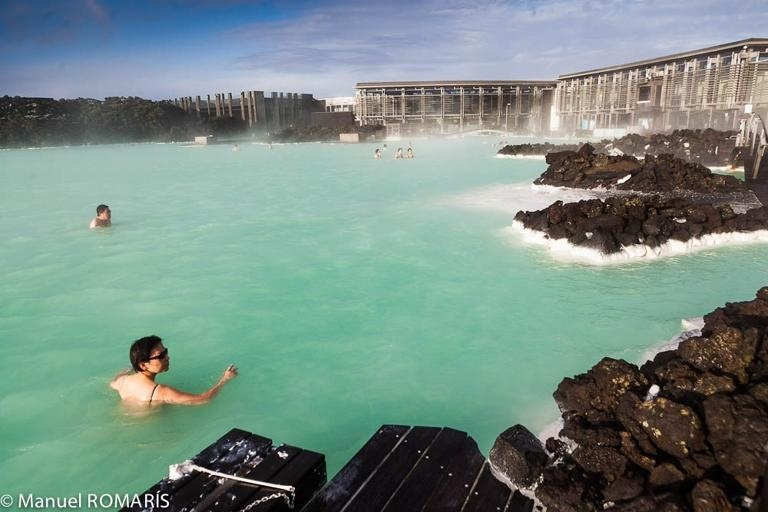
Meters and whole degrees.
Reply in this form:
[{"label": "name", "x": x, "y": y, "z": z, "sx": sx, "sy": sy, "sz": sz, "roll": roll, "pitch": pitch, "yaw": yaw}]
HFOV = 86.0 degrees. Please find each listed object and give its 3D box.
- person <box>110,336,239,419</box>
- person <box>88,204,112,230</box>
[{"label": "person", "x": -3.121, "y": 1.543, "z": 5.798, "sx": 1.945, "sy": 0.656, "sz": 1.138, "roll": 9, "pitch": 32, "yaw": 36}, {"label": "person", "x": -9.165, "y": -1.290, "z": 13.368, "sx": 0.659, "sy": 0.718, "sz": 0.641, "roll": 11, "pitch": 22, "yaw": 43}]
